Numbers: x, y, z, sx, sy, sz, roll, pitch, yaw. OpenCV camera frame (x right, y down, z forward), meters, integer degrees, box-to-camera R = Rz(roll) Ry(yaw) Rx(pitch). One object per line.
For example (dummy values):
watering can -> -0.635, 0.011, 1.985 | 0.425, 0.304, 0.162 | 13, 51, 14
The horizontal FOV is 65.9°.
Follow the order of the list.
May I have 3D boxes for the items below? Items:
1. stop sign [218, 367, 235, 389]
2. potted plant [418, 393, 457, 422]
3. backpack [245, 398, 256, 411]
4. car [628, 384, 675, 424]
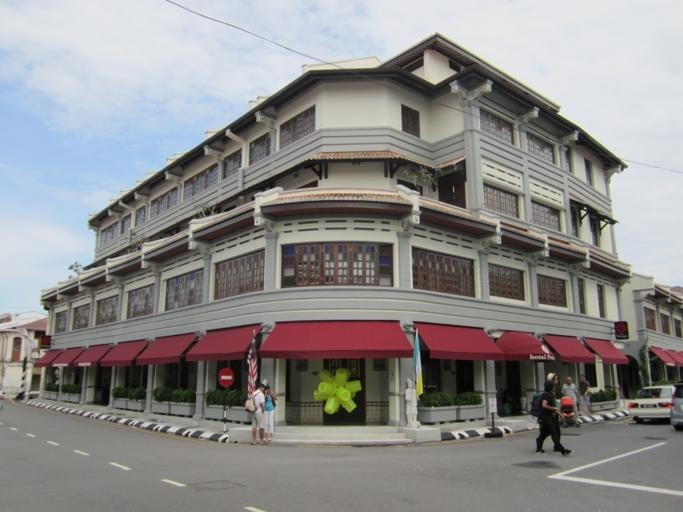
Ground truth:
stop sign -> -4.955, 5.222, 22.786 | 0.424, 0.765, 0.805 | 8, -20, -23
potted plant -> 4.471, 7.204, 25.014 | 1.824, 1.425, 0.626 | 12, -23, -35
backpack -> -3.557, 5.872, 20.755 | 0.385, 0.508, 0.466 | 3, -18, -9
car -> 15.236, 7.249, 25.797 | 1.476, 1.771, 2.319 | 15, -23, -39
